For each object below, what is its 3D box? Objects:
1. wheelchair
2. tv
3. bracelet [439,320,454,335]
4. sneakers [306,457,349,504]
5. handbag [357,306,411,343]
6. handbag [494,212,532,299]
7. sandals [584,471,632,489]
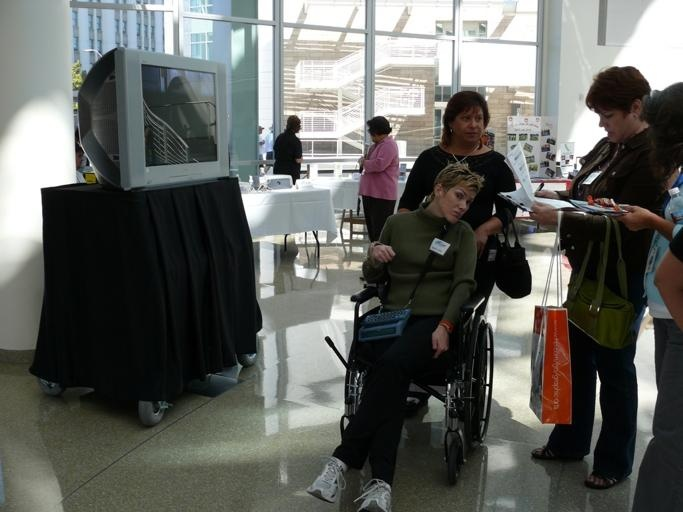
[{"bbox_3d":[0.453,0.495,2.775,0.885,1.070,0.805,0,13,2],"label":"wheelchair"},{"bbox_3d":[-1.121,-0.830,3.289,0.423,0.737,0.843,9,16,25],"label":"tv"},{"bbox_3d":[0.505,0.336,2.573,0.071,0.067,0.075,0,13,1],"label":"bracelet"},{"bbox_3d":[-0.042,0.966,2.368,0.122,0.136,0.310,15,0,15],"label":"sneakers"},{"bbox_3d":[0.234,0.361,2.734,0.338,0.092,0.319,-7,-5,-32],"label":"handbag"},{"bbox_3d":[0.904,0.001,2.769,0.147,0.404,0.263,-15,6,-36],"label":"handbag"},{"bbox_3d":[1.245,1.040,2.557,0.180,0.045,0.077,1,-5,-17],"label":"sandals"}]
